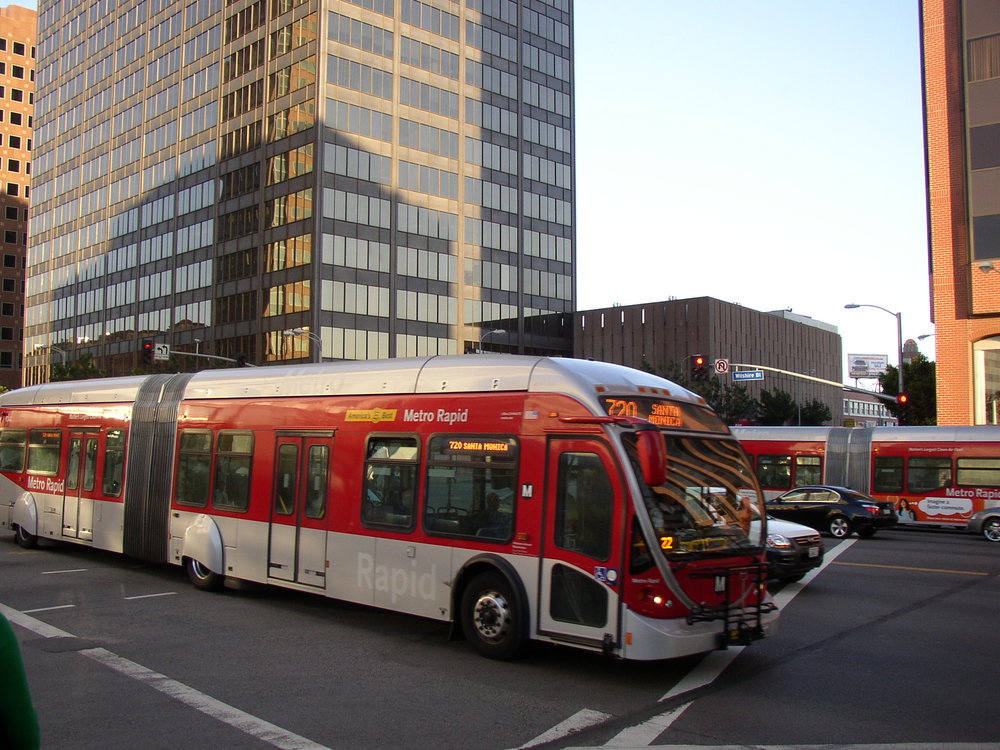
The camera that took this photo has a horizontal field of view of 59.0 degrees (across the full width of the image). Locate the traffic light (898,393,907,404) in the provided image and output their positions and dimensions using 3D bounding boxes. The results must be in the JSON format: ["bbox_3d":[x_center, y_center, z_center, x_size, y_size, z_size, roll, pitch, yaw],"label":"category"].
[{"bbox_3d":[15.759,0.832,34.477,0.382,0.336,0.398,-2,2,21],"label":"traffic light"}]
